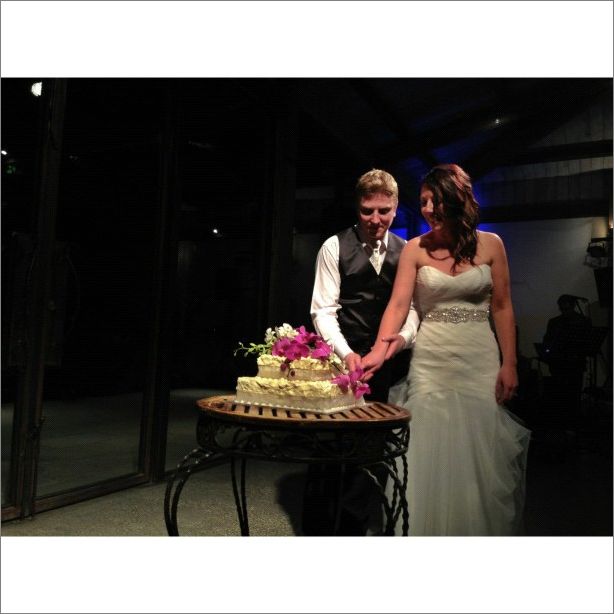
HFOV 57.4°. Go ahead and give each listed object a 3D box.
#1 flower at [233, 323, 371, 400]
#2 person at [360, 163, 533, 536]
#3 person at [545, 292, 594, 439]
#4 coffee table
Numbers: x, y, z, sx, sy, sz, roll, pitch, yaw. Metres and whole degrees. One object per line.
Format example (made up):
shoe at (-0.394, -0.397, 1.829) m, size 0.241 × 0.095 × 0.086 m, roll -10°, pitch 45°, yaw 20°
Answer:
flower at (-0.002, 0.229, 2.165) m, size 0.448 × 0.175 × 0.282 m, roll 25°, pitch 4°, yaw 13°
person at (0.667, 0.202, 2.479) m, size 0.708 × 1.615 × 0.572 m, roll 1°, pitch 15°, yaw 4°
person at (1.398, 0.297, 3.030) m, size 0.230 × 0.680 × 0.326 m, roll 8°, pitch 16°, yaw 26°
coffee table at (-0.066, 0.756, 2.521) m, size 0.830 × 0.548 × 0.717 m, roll 1°, pitch -11°, yaw 7°
